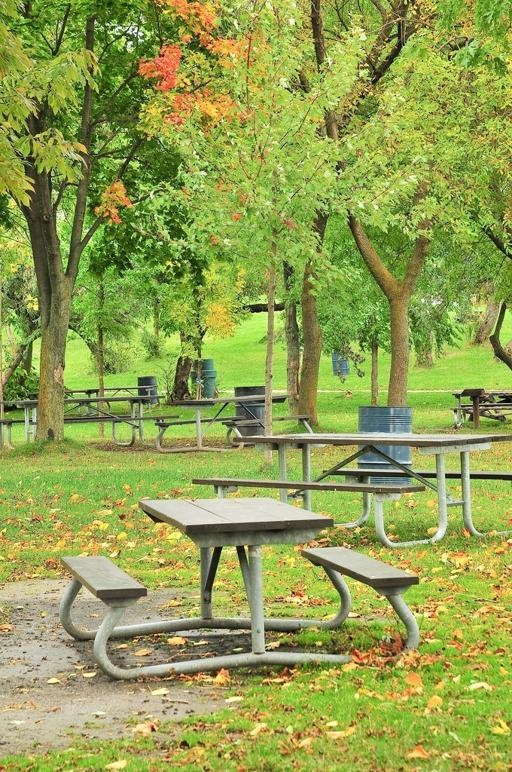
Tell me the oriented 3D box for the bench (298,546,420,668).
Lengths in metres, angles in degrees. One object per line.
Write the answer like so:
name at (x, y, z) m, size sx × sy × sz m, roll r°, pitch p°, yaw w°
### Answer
bench at (0.650, 1.245, 5.833) m, size 0.462 × 0.478 × 0.956 m, roll -1°, pitch 0°, yaw -17°

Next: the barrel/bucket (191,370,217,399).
barrel/bucket at (-1.760, 0.008, 35.495) m, size 1.170 × 1.095 × 1.101 m, roll -2°, pitch -5°, yaw 0°

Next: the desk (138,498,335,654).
desk at (0.022, 1.262, 6.332) m, size 0.868 × 0.688 × 1.498 m, roll -2°, pitch -12°, yaw 1°

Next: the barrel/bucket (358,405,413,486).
barrel/bucket at (1.320, 0.585, 10.335) m, size 0.791 × 1.009 × 0.713 m, roll 0°, pitch -5°, yaw 2°
